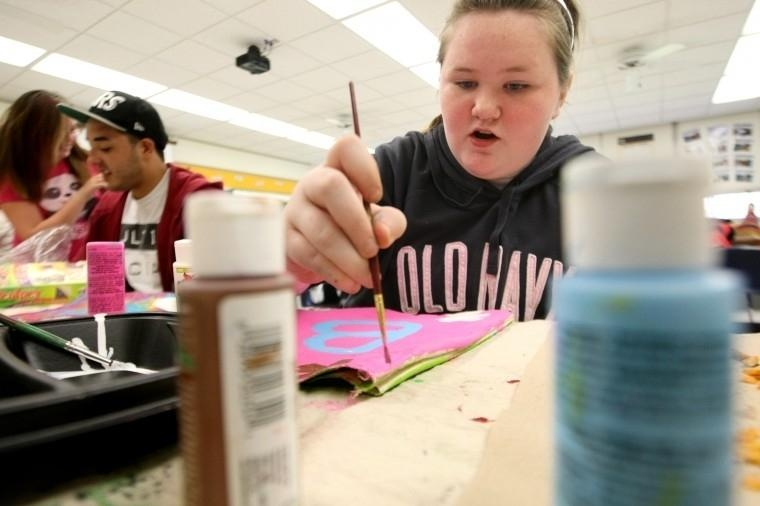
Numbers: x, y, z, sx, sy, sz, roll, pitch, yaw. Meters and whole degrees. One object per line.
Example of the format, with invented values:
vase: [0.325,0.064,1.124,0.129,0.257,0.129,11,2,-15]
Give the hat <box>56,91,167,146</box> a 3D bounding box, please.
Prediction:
hat: [-0.906,-0.452,1.794,0.307,0.145,0.182,27,-2,-38]

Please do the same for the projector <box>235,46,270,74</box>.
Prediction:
projector: [-0.963,-1.465,3.971,0.156,0.132,0.152,12,-17,-42]
